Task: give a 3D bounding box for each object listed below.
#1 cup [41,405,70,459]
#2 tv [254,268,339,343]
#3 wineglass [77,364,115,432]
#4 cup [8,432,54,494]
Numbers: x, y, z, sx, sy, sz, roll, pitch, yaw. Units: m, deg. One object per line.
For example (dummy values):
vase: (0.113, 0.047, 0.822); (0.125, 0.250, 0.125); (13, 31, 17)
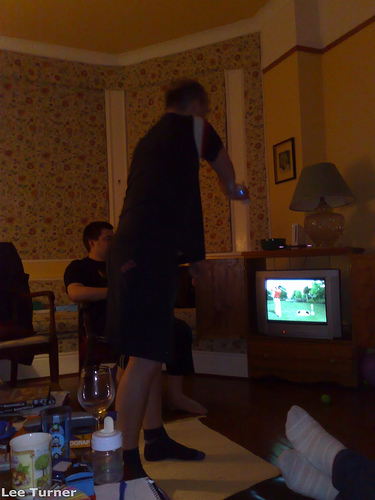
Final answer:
cup: (-0.303, 0.423, 0.988); (0.077, 0.124, 0.077); (2, 11, 0)
tv: (0.844, 0.374, 3.072); (0.593, 0.501, 0.331); (-1, 8, 29)
wineglass: (-0.217, 0.385, 0.991); (0.081, 0.205, 0.091); (0, -9, -5)
cup: (-0.280, 0.386, 0.775); (0.080, 0.098, 0.100); (0, -4, -3)
